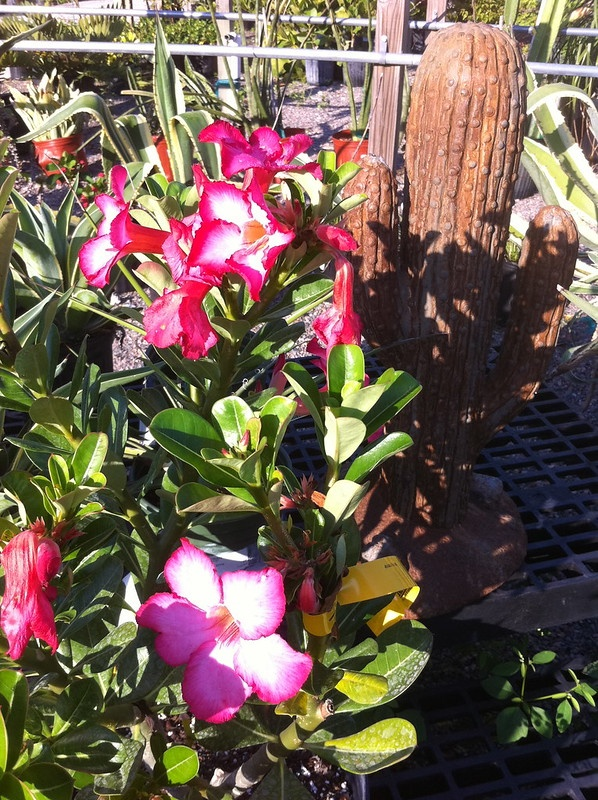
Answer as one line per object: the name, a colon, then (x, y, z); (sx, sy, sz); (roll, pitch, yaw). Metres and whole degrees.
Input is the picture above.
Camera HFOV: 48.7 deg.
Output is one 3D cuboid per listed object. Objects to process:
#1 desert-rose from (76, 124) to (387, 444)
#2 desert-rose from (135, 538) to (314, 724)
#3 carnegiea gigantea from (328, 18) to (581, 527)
desert-rose: (-0.050, -0.136, 0.598); (0.233, 0.220, 0.199); (-24, 51, -30)
desert-rose: (-0.034, 0.129, 0.434); (0.116, 0.109, 0.042); (62, 19, 15)
carnegiea gigantea: (0.232, -0.156, 1.039); (0.298, 0.756, 0.270); (-17, 39, -27)
